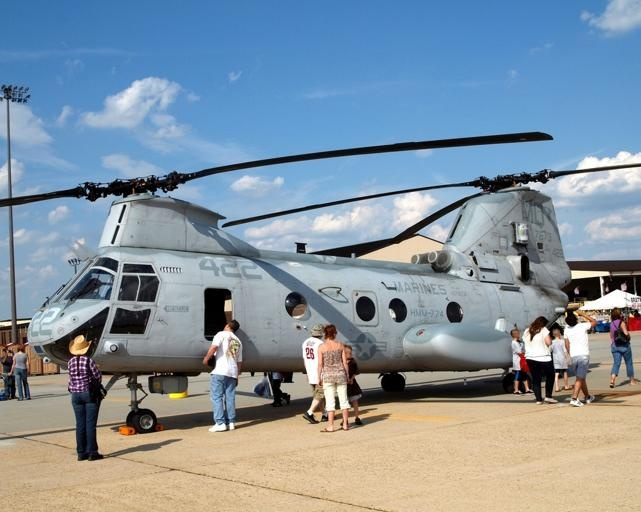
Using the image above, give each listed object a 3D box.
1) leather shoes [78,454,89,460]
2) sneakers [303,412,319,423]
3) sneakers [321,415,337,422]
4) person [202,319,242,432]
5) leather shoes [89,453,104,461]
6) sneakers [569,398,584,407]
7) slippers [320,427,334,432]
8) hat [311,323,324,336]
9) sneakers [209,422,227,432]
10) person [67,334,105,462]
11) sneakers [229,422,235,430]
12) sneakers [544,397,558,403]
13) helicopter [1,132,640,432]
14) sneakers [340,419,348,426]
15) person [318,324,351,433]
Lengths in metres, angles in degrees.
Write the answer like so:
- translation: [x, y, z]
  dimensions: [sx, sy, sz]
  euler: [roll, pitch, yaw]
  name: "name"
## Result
- translation: [-3.704, 3.112, 9.422]
  dimensions: [0.196, 0.097, 0.071]
  euler: [-9, -12, 27]
  name: "leather shoes"
- translation: [-0.187, 3.231, 12.183]
  dimensions: [0.280, 0.233, 0.343]
  euler: [-4, -10, -2]
  name: "sneakers"
- translation: [0.171, 3.344, 12.476]
  dimensions: [0.234, 0.210, 0.577]
  euler: [-1, -18, 3]
  name: "sneakers"
- translation: [-1.881, 2.277, 11.765]
  dimensions: [0.698, 2.134, 0.983]
  euler: [-9, -12, 12]
  name: "person"
- translation: [-3.486, 3.108, 9.444]
  dimensions: [0.090, 0.076, 0.218]
  euler: [3, 2, 18]
  name: "leather shoes"
- translation: [5.223, 2.967, 12.386]
  dimensions: [0.240, 0.156, 0.430]
  euler: [-8, -10, 20]
  name: "sneakers"
- translation: [0.112, 3.153, 11.004]
  dimensions: [0.251, 0.044, 0.118]
  euler: [-1, -3, 23]
  name: "slippers"
- translation: [-0.061, 1.516, 12.436]
  dimensions: [0.238, 0.179, 0.275]
  euler: [1, -5, -1]
  name: "hat"
- translation: [-1.943, 3.245, 11.566]
  dimensions: [0.385, 0.162, 0.302]
  euler: [0, -11, -22]
  name: "sneakers"
- translation: [-3.778, 2.239, 9.829]
  dimensions: [0.521, 1.966, 0.966]
  euler: [-2, -13, -20]
  name: "person"
- translation: [-1.725, 3.275, 11.758]
  dimensions: [0.122, 0.139, 0.343]
  euler: [-3, -9, -10]
  name: "sneakers"
- translation: [4.947, 3.080, 13.004]
  dimensions: [0.354, 0.108, 0.106]
  euler: [-1, -1, 14]
  name: "sneakers"
- translation: [0.139, 0.864, 14.120]
  dimensions: [11.095, 2.800, 8.700]
  euler: [4, -6, -42]
  name: "helicopter"
- translation: [0.431, 3.072, 11.212]
  dimensions: [0.126, 0.098, 0.292]
  euler: [-1, -10, 0]
  name: "sneakers"
- translation: [0.251, 2.248, 11.395]
  dimensions: [0.586, 1.954, 0.591]
  euler: [-6, -13, -1]
  name: "person"
